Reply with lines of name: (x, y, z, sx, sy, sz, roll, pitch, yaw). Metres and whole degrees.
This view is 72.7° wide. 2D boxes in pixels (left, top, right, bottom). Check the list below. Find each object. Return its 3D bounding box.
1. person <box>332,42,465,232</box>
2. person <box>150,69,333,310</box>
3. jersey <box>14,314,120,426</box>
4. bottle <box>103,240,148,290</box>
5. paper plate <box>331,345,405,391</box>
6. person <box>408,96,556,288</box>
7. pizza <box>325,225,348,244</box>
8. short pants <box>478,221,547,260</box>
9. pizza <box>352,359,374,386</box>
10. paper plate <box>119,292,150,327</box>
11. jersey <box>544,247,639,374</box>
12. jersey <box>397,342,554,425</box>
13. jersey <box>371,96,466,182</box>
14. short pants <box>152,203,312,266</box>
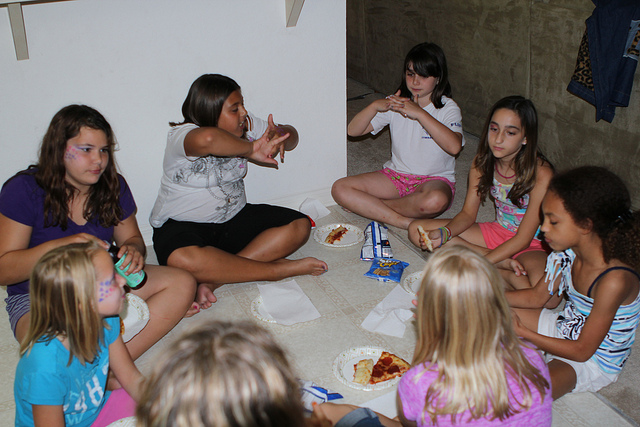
person: (0.604, -0.576, 3.089, 0.874, 1.242, 0.745, 7, 18, 20)
person: (-0.507, -0.221, 2.607, 0.995, 1.203, 1.074, 11, 19, 22)
jersey: (-0.923, 0.574, 1.595, 0.403, 0.342, 0.345, -7, 23, -27)
bottle: (-0.874, 0.246, 1.985, 0.112, 0.328, 0.181, -7, 24, -16)
paper plate: (0.168, 0.719, 2.046, 0.218, 0.031, 0.225, -8, 32, -10)
person: (1.010, -0.166, 2.625, 0.847, 1.032, 0.706, 15, 33, 40)
pizza: (0.118, 0.140, 2.984, 0.066, 0.068, 0.210, -20, 10, 33)
short pants: (1.177, 0.101, 2.752, 0.348, 0.198, 0.351, -4, 23, -16)
pizza: (0.204, 0.739, 2.051, 0.091, 0.194, 0.019, 6, 31, -3)
paper plate: (-0.915, 0.463, 2.163, 0.125, 0.100, 0.165, -6, 24, -14)
jersey: (1.182, 0.422, 1.882, 0.298, 0.511, 0.380, -13, 28, -4)
jersey: (0.538, 0.615, 1.473, 0.510, 0.267, 0.165, -2, 23, -5)
jersey: (0.718, -0.533, 3.152, 0.597, 0.595, 0.337, 20, 40, 31)
short pants: (-0.553, 0.084, 2.805, 0.914, 0.284, 0.682, -11, 20, -18)
